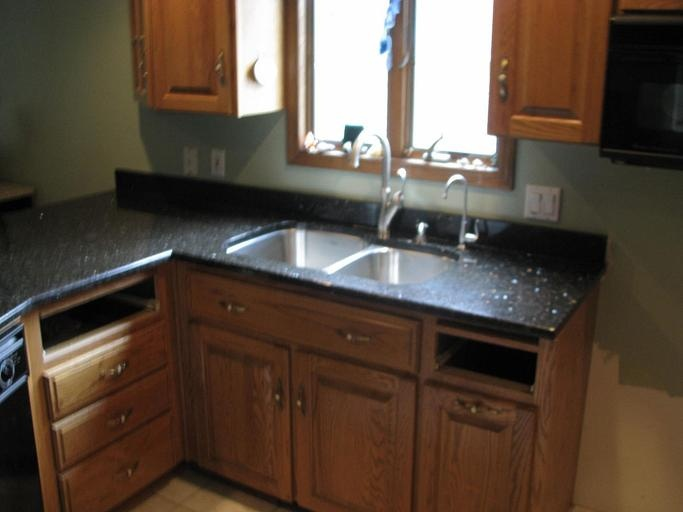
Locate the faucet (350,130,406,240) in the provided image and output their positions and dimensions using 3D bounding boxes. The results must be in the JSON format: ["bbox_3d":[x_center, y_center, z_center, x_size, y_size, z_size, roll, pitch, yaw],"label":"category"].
[{"bbox_3d":[0.167,-0.313,2.548,0.231,0.450,0.375,3,18,5],"label":"faucet"}]

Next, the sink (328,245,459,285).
[{"bbox_3d":[0.262,0.049,2.452,0.293,0.113,0.251,11,26,35],"label":"sink"}]

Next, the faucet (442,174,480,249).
[{"bbox_3d":[0.498,-0.188,2.429,0.162,0.297,0.205,5,19,9],"label":"faucet"}]
